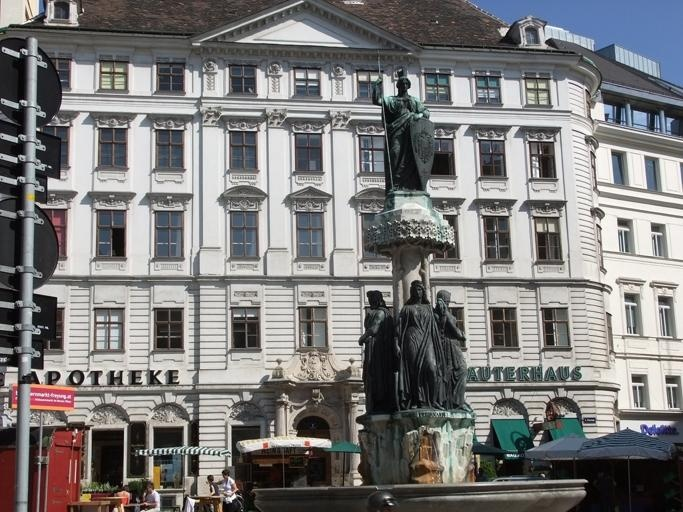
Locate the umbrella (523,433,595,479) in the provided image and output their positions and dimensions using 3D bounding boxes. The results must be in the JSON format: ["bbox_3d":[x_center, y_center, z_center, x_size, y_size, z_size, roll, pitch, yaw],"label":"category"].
[{"bbox_3d":[7.012,6.333,40.466,1.741,1.388,1.273,2,-8,-32],"label":"umbrella"}]

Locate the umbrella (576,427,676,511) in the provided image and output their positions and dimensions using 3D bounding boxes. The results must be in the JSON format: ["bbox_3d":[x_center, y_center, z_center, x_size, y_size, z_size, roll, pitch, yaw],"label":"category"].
[{"bbox_3d":[8.450,6.494,38.592,2.612,2.435,3.285,0,-11,2],"label":"umbrella"}]

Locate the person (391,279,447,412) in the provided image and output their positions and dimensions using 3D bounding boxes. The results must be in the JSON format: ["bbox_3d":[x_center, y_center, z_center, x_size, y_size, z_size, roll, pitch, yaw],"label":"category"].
[{"bbox_3d":[2.196,2.437,35.171,1.288,3.588,0.844,-1,-9,1],"label":"person"}]

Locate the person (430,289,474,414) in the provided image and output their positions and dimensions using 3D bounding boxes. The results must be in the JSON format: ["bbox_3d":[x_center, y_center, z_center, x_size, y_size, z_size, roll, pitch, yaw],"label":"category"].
[{"bbox_3d":[3.029,2.741,35.595,0.845,3.673,0.668,-2,-9,3],"label":"person"}]

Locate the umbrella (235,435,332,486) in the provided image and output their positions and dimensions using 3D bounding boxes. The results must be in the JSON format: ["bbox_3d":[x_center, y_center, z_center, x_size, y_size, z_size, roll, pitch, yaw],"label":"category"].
[{"bbox_3d":[-2.265,8.701,50.598,3.738,3.485,2.057,-1,1,-13],"label":"umbrella"}]
